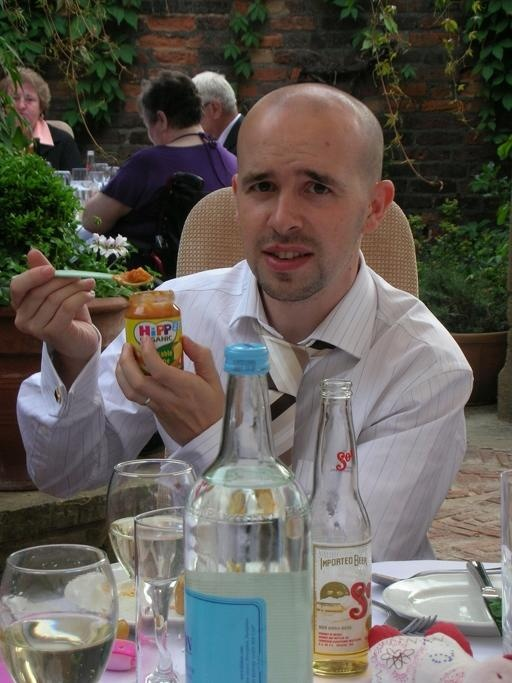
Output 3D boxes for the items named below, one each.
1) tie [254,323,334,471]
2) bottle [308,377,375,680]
[{"bbox_3d":[0.054,0.082,1.216,0.072,0.211,0.156,-7,44,19],"label":"tie"},{"bbox_3d":[0.070,0.145,0.554,0.050,0.228,0.104,-1,8,4],"label":"bottle"}]
